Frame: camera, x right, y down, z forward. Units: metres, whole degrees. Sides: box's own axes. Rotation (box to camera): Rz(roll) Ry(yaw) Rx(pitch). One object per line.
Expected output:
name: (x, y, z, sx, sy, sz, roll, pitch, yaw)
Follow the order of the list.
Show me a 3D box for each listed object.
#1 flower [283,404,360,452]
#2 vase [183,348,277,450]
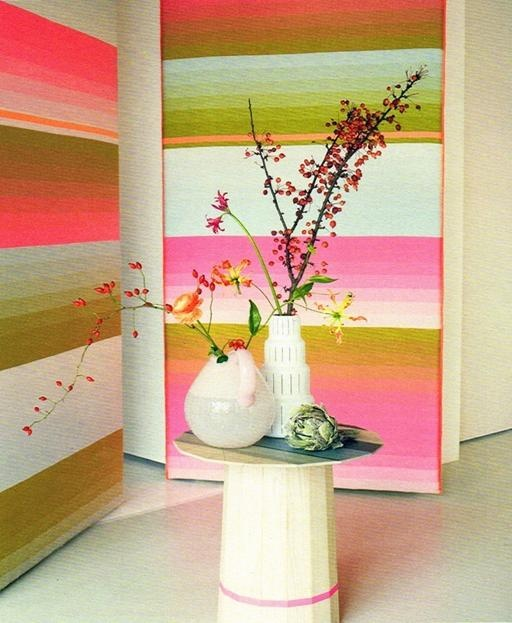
flower: (0.096, 0.196, 1.017, 0.094, 0.040, 0.087, -6, -5, -14)
vase: (-0.040, 0.150, 1.014, 0.167, 0.145, 0.180, 6, -10, -33)
